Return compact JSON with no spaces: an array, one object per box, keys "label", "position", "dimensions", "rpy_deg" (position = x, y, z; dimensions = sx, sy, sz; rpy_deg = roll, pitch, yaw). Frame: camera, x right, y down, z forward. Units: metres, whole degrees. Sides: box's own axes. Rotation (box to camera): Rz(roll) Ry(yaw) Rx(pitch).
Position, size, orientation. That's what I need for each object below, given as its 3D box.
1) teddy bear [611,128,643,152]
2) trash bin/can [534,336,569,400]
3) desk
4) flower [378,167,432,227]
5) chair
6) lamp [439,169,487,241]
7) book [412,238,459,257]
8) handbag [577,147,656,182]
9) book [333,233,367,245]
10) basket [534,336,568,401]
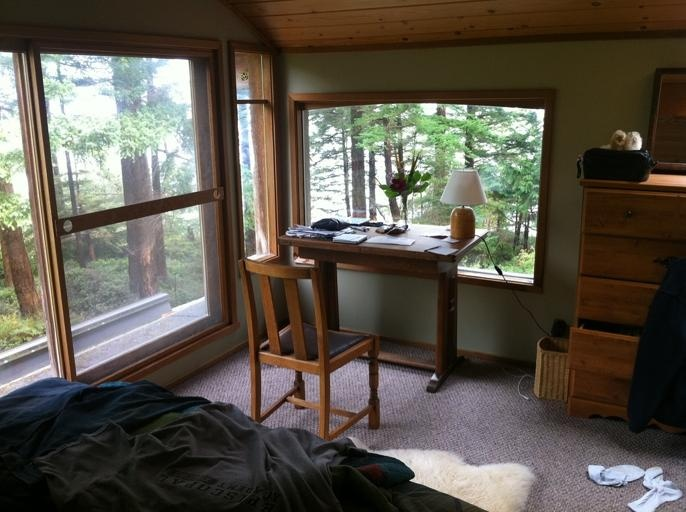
[{"label":"teddy bear","position":[1.562,-0.641,2.954],"dimensions":[0.136,0.088,0.178],"rpy_deg":[-3,25,-3]},{"label":"trash bin/can","position":[1.312,0.733,3.313],"dimensions":[0.174,0.262,0.162],"rpy_deg":[7,-14,-3]},{"label":"desk","position":[0.339,0.071,3.708],"dimensions":[1.514,1.086,1.117],"rpy_deg":[6,14,30]},{"label":"flower","position":[0.452,-0.418,3.712],"dimensions":[0.411,0.406,0.393],"rpy_deg":[4,7,10]},{"label":"chair","position":[-0.186,0.527,3.071],"dimensions":[0.594,1.065,0.642],"rpy_deg":[4,8,32]},{"label":"lamp","position":[0.796,-0.349,3.457],"dimensions":[0.263,0.438,0.311],"rpy_deg":[7,18,22]},{"label":"book","position":[0.607,-0.055,3.250],"dimensions":[0.215,0.020,0.308],"rpy_deg":[6,17,17]},{"label":"handbag","position":[1.499,-0.510,2.932],"dimensions":[0.288,0.121,0.213],"rpy_deg":[6,12,22]},{"label":"book","position":[0.052,-0.120,3.415],"dimensions":[0.211,0.024,0.254],"rpy_deg":[4,16,10]},{"label":"basket","position":[1.316,0.730,3.330],"dimensions":[0.199,0.289,0.191],"rpy_deg":[7,-8,-7]}]
